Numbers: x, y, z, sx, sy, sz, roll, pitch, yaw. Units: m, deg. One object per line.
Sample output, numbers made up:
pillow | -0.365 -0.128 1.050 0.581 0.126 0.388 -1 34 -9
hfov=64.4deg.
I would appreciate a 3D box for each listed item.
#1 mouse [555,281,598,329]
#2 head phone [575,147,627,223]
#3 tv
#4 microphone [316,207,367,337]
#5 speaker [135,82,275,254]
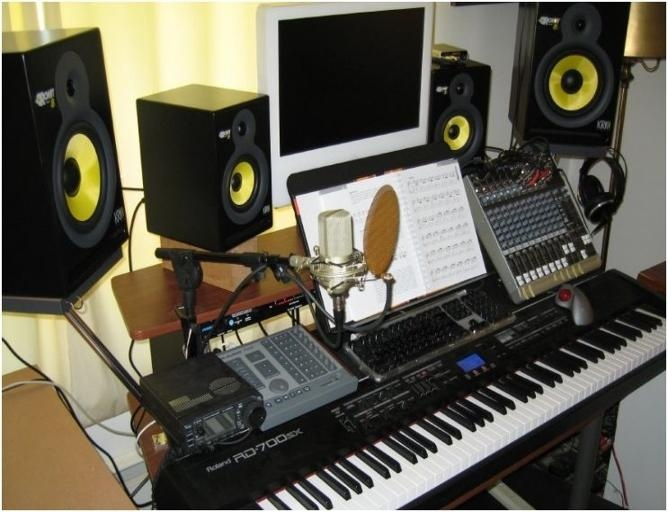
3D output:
mouse | 0.818 0.170 1.819 0.107 0.145 0.040 -21 -4 -29
head phone | 1.165 -0.288 2.360 0.239 0.341 0.253 -4 5 -35
tv | 0.021 -0.501 1.757 0.688 0.643 0.074 -16 30 -34
microphone | 0.018 0.041 1.183 0.108 0.339 0.159 -2 23 3
speaker | -0.351 -0.373 1.869 0.483 0.695 0.386 14 25 23
